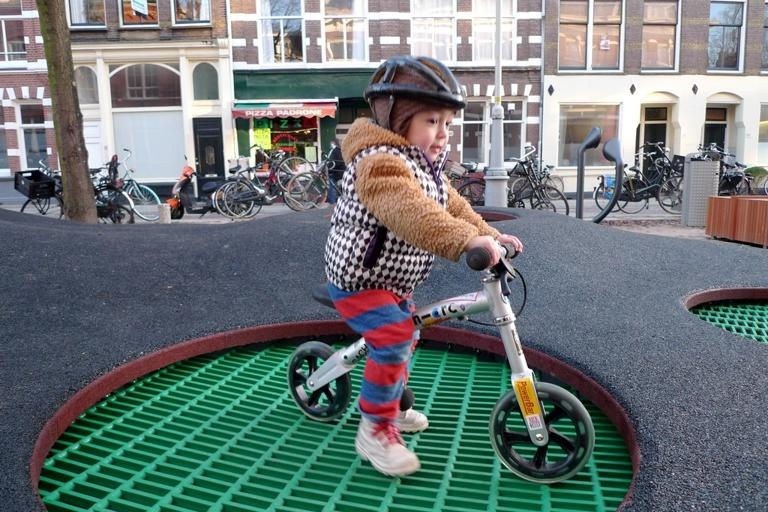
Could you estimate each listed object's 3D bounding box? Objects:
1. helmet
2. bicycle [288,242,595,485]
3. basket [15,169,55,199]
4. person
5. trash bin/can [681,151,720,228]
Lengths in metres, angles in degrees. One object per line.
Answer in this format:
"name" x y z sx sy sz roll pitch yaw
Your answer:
"helmet" 0.136 -0.767 2.933 0.503 0.409 0.465 5 10 13
"bicycle" 0.273 0.479 2.965 1.490 1.146 0.489 4 11 31
"basket" -6.103 -1.263 10.329 0.429 0.346 0.741 -6 29 -43
"person" 0.258 0.047 2.953 1.039 1.972 0.922 0 7 -3
"trash bin/can" 5.696 -1.129 10.677 0.554 1.219 0.637 3 11 27
